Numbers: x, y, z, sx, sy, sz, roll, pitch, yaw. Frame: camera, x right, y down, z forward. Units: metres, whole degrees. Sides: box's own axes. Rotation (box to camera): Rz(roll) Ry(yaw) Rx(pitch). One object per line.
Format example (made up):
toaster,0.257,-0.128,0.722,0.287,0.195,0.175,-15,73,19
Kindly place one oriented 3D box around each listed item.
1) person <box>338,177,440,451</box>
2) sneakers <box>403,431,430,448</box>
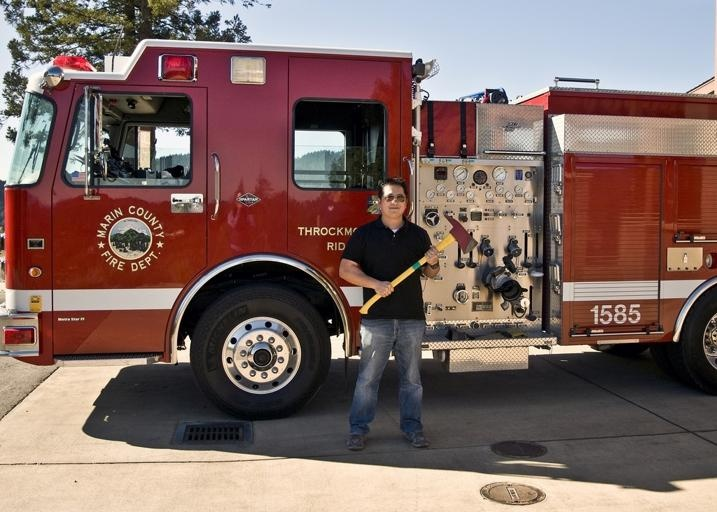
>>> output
person,0.278,0.532,6.825,0.912,2.449,0.522,0,9,-2
sneakers,0.554,1.706,6.828,0.109,0.093,0.221,2,-5,-18
